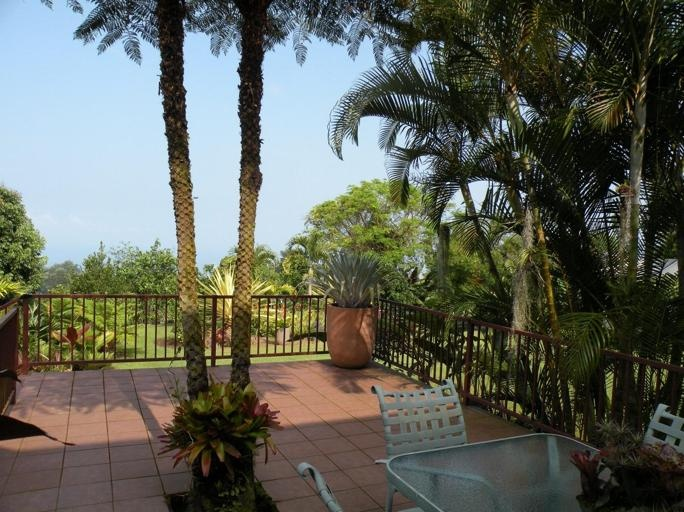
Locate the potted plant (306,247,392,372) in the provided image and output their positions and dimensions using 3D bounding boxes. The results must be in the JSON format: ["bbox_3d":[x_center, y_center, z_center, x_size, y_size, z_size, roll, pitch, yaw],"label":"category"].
[{"bbox_3d":[0.127,0.858,8.030,1.057,1.895,0.649,0,-3,7],"label":"potted plant"}]
